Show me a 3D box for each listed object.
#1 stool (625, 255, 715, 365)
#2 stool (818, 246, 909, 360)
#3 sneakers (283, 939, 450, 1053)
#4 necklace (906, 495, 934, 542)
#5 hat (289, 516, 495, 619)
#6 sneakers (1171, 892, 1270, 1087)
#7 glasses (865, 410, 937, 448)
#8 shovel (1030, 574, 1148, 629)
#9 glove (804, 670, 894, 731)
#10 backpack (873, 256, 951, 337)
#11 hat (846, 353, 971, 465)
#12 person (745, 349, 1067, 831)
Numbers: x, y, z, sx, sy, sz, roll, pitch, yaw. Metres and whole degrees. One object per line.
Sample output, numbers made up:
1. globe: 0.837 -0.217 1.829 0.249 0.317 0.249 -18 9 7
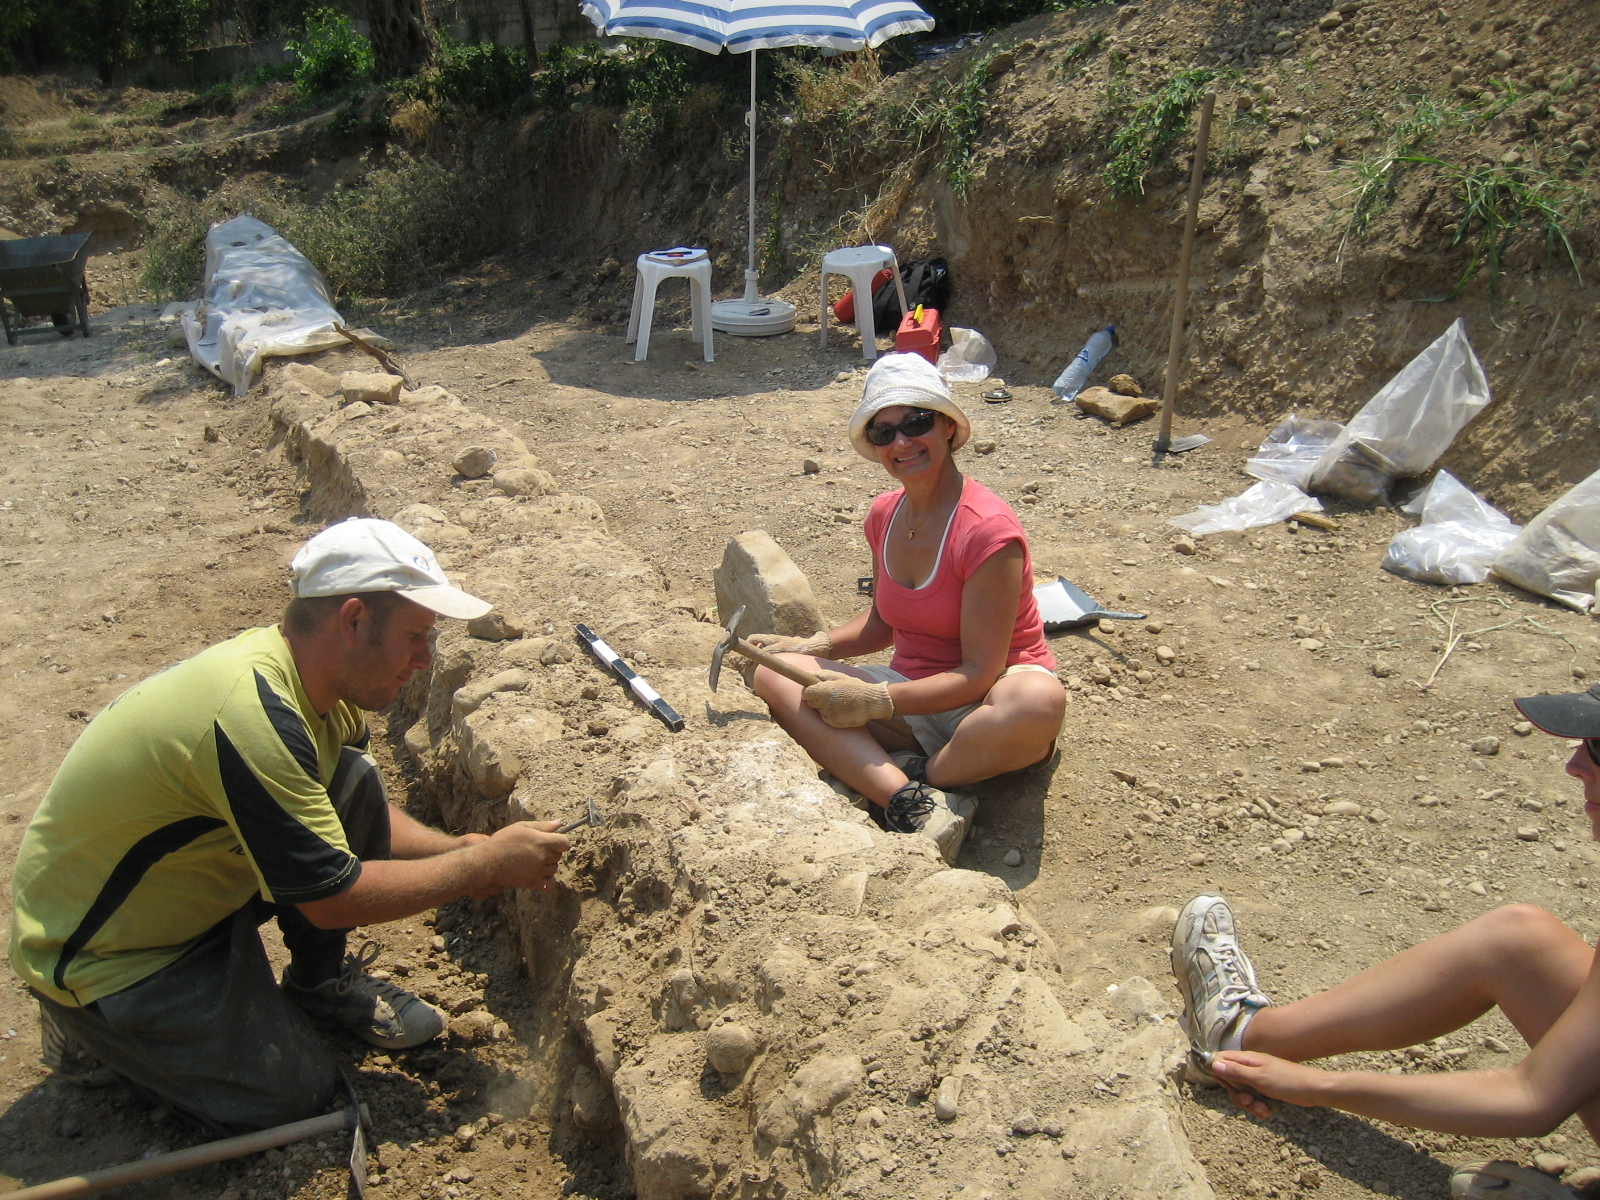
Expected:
1. stool: -0.862 -1.968 10.558 0.648 0.549 0.650 21 22 36
2. stool: 0.483 -1.970 10.411 0.505 0.486 0.472 -19 11 15
3. sneakers: -1.402 1.318 5.308 0.647 0.246 0.225 13 21 4
4. necklace: 0.414 -0.293 5.641 0.097 0.131 0.039 17 28 28
5. hat: -1.268 -0.094 4.900 0.505 0.231 0.311 2 2 -17
6. sneakers: 1.287 1.204 4.975 0.208 0.247 0.592 9 72 9
7. glasses: 0.344 -0.589 5.548 0.232 0.149 0.091 2 31 1
8. shovel: 1.194 0.005 6.788 0.413 0.092 0.235 0 37 1
9. glove: 0.155 0.349 5.549 0.256 0.108 0.180 -3 39 0
10. backpack: 0.742 -2.043 10.630 0.489 0.241 0.644 -6 48 25
11. hat: 0.396 -0.723 5.767 0.382 0.392 0.229 -12 55 10
12. person: 0.394 0.007 5.606 0.939 1.488 0.956 -20 37 -32
